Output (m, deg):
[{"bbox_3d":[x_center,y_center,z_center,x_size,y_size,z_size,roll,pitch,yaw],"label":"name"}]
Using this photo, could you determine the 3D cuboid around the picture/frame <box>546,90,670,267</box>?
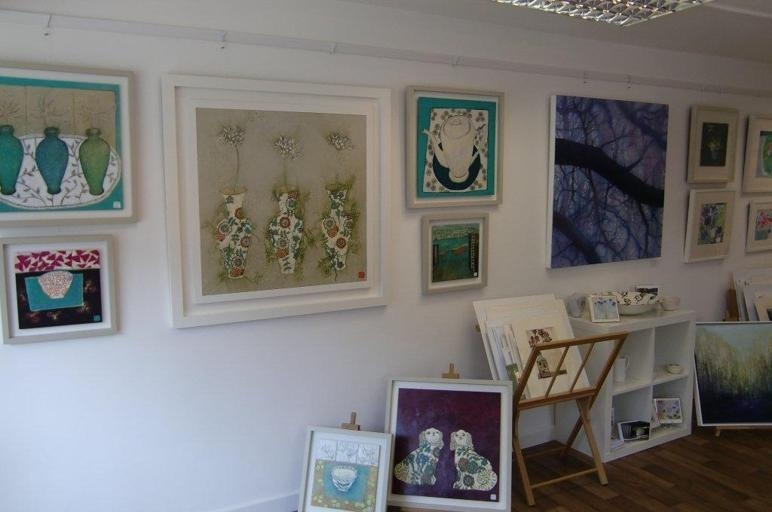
[{"bbox_3d":[1.852,-0.685,4.898,1.482,1.467,0.110,-6,10,-31],"label":"picture/frame"}]

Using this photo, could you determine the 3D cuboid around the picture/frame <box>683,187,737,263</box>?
[{"bbox_3d":[3.096,-0.315,5.525,0.660,0.623,0.062,-12,17,-36],"label":"picture/frame"}]

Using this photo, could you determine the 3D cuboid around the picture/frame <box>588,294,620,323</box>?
[{"bbox_3d":[1.802,0.425,4.681,0.297,0.211,0.168,-4,4,-6],"label":"picture/frame"}]

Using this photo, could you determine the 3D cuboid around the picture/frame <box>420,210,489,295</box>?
[{"bbox_3d":[0.501,-0.039,4.401,0.635,0.625,0.047,-4,7,-29],"label":"picture/frame"}]

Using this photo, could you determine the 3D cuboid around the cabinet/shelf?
[{"bbox_3d":[1.918,1.080,4.682,1.085,0.978,0.372,-9,16,-31],"label":"cabinet/shelf"}]

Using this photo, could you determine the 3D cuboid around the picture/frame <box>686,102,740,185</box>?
[{"bbox_3d":[3.068,-1.070,5.428,0.767,0.836,0.086,-5,8,-32],"label":"picture/frame"}]

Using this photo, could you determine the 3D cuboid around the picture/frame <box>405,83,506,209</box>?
[{"bbox_3d":[0.492,-0.839,4.312,0.942,0.927,0.060,-5,9,-29],"label":"picture/frame"}]
